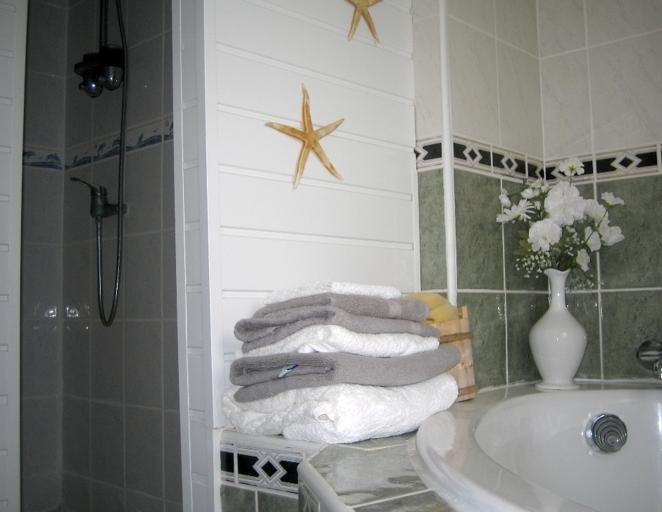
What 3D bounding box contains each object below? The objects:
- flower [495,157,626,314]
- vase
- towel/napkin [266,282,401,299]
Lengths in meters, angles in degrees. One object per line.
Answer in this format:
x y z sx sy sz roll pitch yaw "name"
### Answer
0.962 -0.140 2.125 0.520 0.555 0.413 -3 -5 16 "flower"
0.894 0.278 1.992 0.206 0.463 0.160 -3 -5 12 "vase"
0.022 0.095 1.413 0.348 0.056 0.215 2 -7 -38 "towel/napkin"
